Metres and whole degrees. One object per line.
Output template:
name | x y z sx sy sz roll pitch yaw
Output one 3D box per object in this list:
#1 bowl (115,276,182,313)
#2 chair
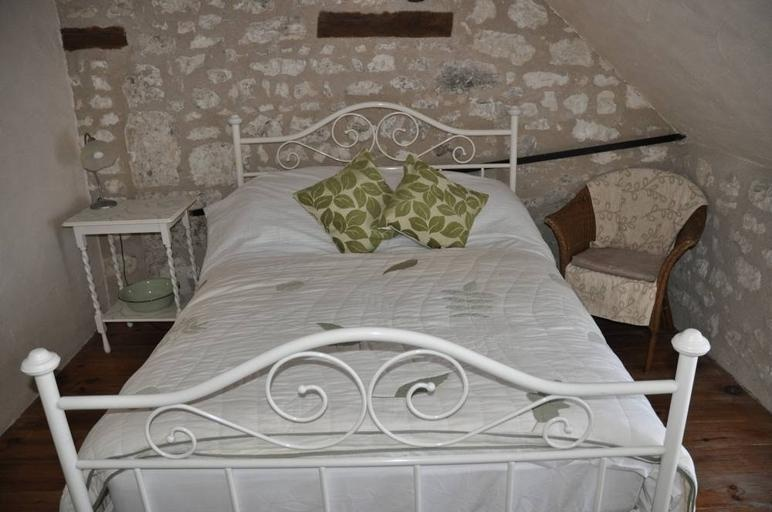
bowl | -1.534 0.275 4.194 0.338 0.124 0.361 -9 13 2
chair | 1.451 0.086 3.800 0.950 0.995 0.764 18 45 34
